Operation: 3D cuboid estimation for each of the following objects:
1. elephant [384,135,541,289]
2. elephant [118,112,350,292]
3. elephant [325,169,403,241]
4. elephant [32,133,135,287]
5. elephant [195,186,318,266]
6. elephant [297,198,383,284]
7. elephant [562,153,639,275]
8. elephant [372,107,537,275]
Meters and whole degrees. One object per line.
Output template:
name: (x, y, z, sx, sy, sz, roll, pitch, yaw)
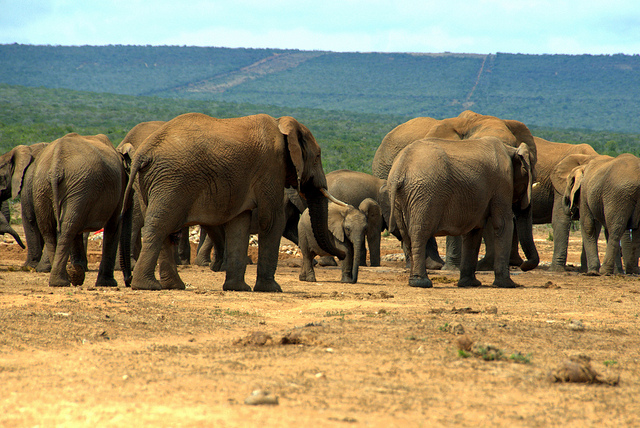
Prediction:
elephant: (3.063, 0.001, 17.704, 3.841, 2.982, 1.979, 0, 0, -34)
elephant: (-1.384, -0.147, 15.978, 4.478, 3.104, 1.708, 0, 1, -35)
elephant: (0.814, -0.482, 21.329, 1.063, 1.349, 2.364, 2, 6, 33)
elephant: (-4.260, -0.050, 16.770, 1.698, 2.779, 3.471, 1, -3, 9)
elephant: (-1.527, 0.272, 19.866, 3.290, 1.780, 1.274, -4, 6, 3)
elephant: (0.536, 0.492, 18.936, 1.704, 1.638, 2.536, -2, 10, -13)
elephant: (6.422, -0.060, 20.221, 1.075, 2.589, 1.857, -3, 12, -15)
elephant: (3.259, -0.004, 19.200, 4.315, 3.195, 2.150, -4, 10, -32)
